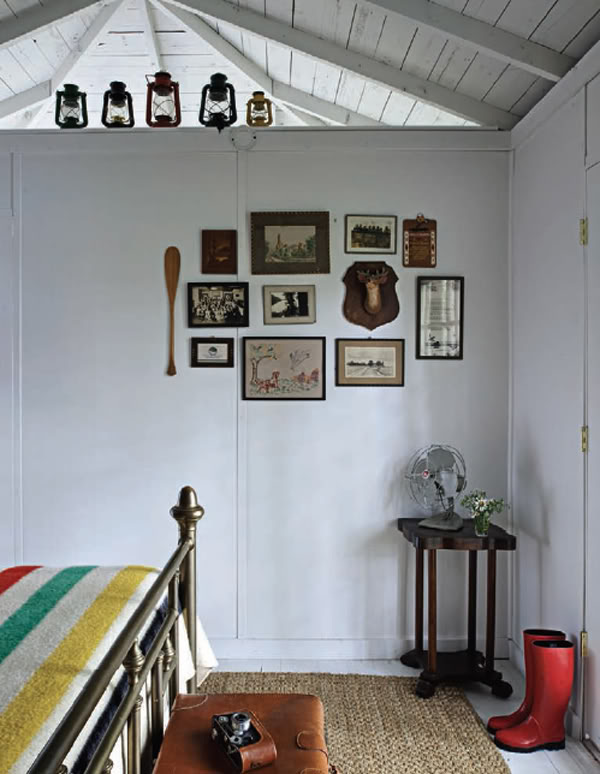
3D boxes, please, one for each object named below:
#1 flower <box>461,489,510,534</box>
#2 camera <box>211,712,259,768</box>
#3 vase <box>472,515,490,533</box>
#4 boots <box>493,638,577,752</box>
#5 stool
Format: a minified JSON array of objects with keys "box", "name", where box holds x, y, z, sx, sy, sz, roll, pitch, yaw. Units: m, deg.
[{"box":[0.780,0.513,2.938,0.181,0.216,0.194,-1,0,-23],"name":"flower"},{"box":[-0.145,0.819,1.606,0.093,0.060,0.162,-5,3,-23],"name":"camera"},{"box":[0.747,0.560,2.848,0.053,0.083,0.125,-3,3,15],"name":"vase"},{"box":[0.831,1.079,2.462,0.317,0.365,0.199,-4,3,0],"name":"boots"},{"box":[0.664,0.938,2.929,0.451,0.607,0.506,4,-6,-18],"name":"stool"}]
